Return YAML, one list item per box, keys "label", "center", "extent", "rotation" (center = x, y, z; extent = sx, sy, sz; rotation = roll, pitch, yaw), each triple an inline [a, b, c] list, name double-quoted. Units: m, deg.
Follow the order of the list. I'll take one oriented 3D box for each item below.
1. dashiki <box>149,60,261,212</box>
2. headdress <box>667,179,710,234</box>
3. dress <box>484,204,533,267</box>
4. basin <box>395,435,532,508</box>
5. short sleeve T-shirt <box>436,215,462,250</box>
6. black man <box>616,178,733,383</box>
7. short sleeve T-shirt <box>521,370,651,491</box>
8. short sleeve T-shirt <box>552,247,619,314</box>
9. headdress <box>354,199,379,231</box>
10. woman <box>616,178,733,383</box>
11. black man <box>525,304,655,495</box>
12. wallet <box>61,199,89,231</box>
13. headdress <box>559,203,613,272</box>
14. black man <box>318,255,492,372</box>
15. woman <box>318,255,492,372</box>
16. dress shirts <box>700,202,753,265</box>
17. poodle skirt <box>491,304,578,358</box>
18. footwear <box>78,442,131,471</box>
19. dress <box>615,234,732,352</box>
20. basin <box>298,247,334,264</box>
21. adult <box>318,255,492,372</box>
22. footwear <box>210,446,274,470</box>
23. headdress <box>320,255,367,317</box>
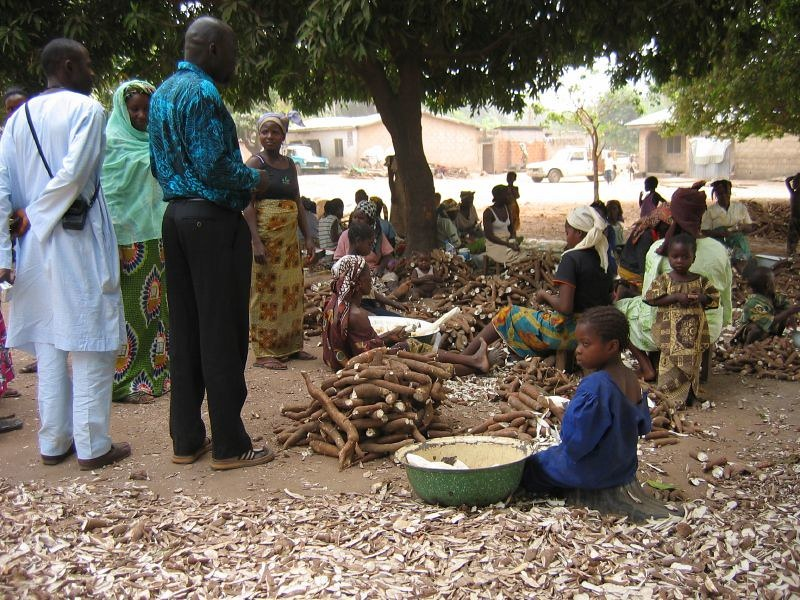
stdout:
- label: "dashiki"
  center: [-1.457, -1.178, 5.105]
  extent: [0.560, 1.037, 1.056]
  rotation: [-8, 15, -39]
- label: "headdress"
  center: [2.765, -0.850, 6.759]
  extent: [0.349, 0.426, 0.458]
  rotation: [-14, 3, -20]
- label: "dress"
  center: [1.648, -1.105, 10.746]
  extent: [0.553, 1.138, 0.783]
  rotation: [-21, 20, -32]
- label: "basin"
  center: [0.436, 1.145, 4.662]
  extent: [0.862, 0.343, 0.550]
  rotation: [-1, 5, 10]
- label: "short sleeve T-shirt"
  center: [0.812, -1.115, 11.826]
  extent: [0.313, 0.485, 0.608]
  rotation: [-21, 27, -24]
- label: "black man"
  center: [2.797, -0.220, 7.096]
  extent: [0.961, 1.839, 1.026]
  rotation: [-10, 15, -7]
- label: "short sleeve T-shirt"
  center: [1.244, 0.836, 4.646]
  extent: [0.727, 0.841, 0.651]
  rotation: [0, 2, -34]
- label: "short sleeve T-shirt"
  center: [1.804, -0.204, 6.623]
  extent: [0.700, 0.513, 0.345]
  rotation: [0, -4, -27]
- label: "headdress"
  center: [-0.408, -1.166, 9.473]
  extent: [0.328, 0.420, 0.429]
  rotation: [5, 8, 10]
- label: "woman"
  center: [2.787, -0.221, 7.114]
  extent: [1.161, 1.900, 1.068]
  rotation: [-19, 21, -39]
- label: "black man"
  center: [1.233, 0.643, 4.684]
  extent: [0.882, 1.117, 0.911]
  rotation: [-1, -1, 2]
- label: "wallet"
  center: [-2.298, -0.596, 4.927]
  extent: [0.158, 0.232, 0.130]
  rotation: [8, -36, -2]
- label: "headdress"
  center: [1.727, -0.562, 6.484]
  extent: [0.392, 0.548, 0.368]
  rotation: [4, 3, 9]
- label: "black man"
  center: [0.063, 0.167, 6.862]
  extent: [1.556, 1.112, 0.746]
  rotation: [1, 12, -15]
- label: "woman"
  center: [0.084, 0.165, 6.840]
  extent: [1.553, 1.100, 0.724]
  rotation: [0, 11, -11]
- label: "dress shirts"
  center: [4.821, -0.958, 10.319]
  extent: [0.735, 0.925, 0.665]
  rotation: [1, 17, 33]
- label: "poodle skirt"
  center: [1.333, 0.338, 6.882]
  extent: [0.466, 0.313, 0.622]
  rotation: [1, 12, -34]
- label: "footwear"
  center: [-2.168, 1.121, 5.166]
  extent: [0.124, 0.139, 0.350]
  rotation: [9, 13, 32]
- label: "dress"
  center: [2.808, -0.088, 7.160]
  extent: [1.238, 1.348, 1.154]
  rotation: [-1, 11, -8]
- label: "basin"
  center: [-1.348, -0.650, 10.677]
  extent: [0.548, 0.172, 0.419]
  rotation: [-5, 6, -26]
- label: "adult"
  center: [0.066, 0.169, 6.855]
  extent: [1.547, 1.097, 0.727]
  rotation: [1, 11, -14]
- label: "footwear"
  center: [-1.130, 1.107, 5.082]
  extent: [0.387, 0.152, 0.153]
  rotation: [-5, 9, -24]
- label: "headdress"
  center: [-0.452, -0.133, 6.576]
  extent: [0.247, 0.514, 0.470]
  rotation: [13, 5, -30]
